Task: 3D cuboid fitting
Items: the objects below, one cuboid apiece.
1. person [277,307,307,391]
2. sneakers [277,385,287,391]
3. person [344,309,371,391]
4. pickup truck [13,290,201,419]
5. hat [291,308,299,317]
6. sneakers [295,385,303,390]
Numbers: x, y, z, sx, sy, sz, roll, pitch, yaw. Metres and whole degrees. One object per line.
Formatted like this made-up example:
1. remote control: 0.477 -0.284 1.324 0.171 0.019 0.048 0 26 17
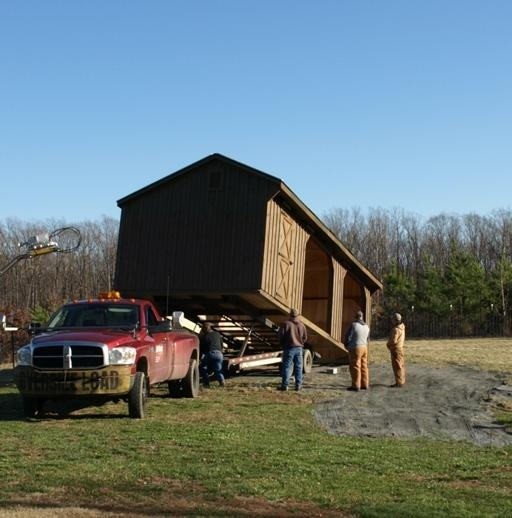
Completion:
1. person: 0.918 2.299 14.567 0.624 1.987 0.873 1 -4 4
2. sneakers: 0.676 3.214 14.253 0.194 0.118 0.134 -6 -12 35
3. person: 2.588 2.431 14.662 0.515 1.763 0.801 0 -4 8
4. pickup truck: -2.521 1.742 10.853 1.764 1.598 3.515 -3 -13 9
5. hat: 0.993 1.475 14.861 0.213 0.316 0.294 -3 2 4
6. sneakers: 1.054 3.203 14.190 0.132 0.136 0.086 1 -4 -42
